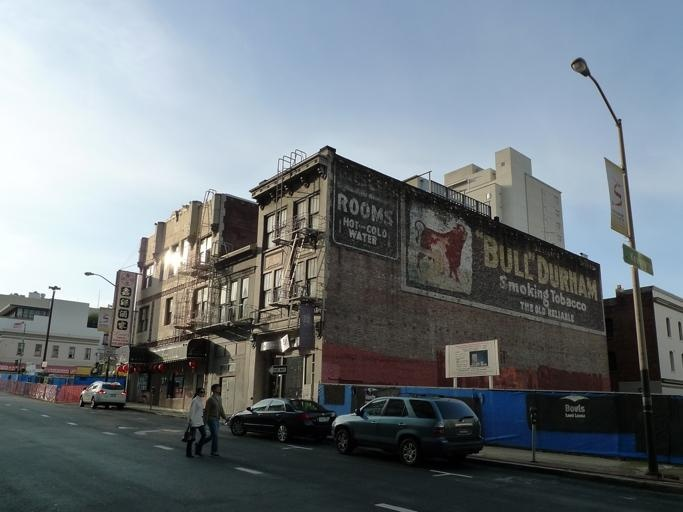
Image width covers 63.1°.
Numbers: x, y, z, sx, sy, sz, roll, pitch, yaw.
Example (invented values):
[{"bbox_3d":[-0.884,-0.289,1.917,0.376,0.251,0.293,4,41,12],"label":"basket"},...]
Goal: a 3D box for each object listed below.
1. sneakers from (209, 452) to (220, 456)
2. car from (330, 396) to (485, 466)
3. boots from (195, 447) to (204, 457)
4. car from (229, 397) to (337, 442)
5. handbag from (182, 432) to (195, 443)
[{"bbox_3d":[-4.066,6.341,17.847,0.117,0.146,0.339,11,-21,-38],"label":"sneakers"},{"bbox_3d":[2.090,5.972,19.216,5.097,2.157,1.959,-15,-24,40],"label":"car"},{"bbox_3d":[-4.542,6.226,17.720,0.241,0.234,0.557,5,-19,-12],"label":"boots"},{"bbox_3d":[-2.626,6.869,23.426,4.135,1.739,1.407,-11,-22,32],"label":"car"},{"bbox_3d":[-4.949,5.729,17.773,0.534,0.341,0.217,-16,-25,42],"label":"handbag"}]
